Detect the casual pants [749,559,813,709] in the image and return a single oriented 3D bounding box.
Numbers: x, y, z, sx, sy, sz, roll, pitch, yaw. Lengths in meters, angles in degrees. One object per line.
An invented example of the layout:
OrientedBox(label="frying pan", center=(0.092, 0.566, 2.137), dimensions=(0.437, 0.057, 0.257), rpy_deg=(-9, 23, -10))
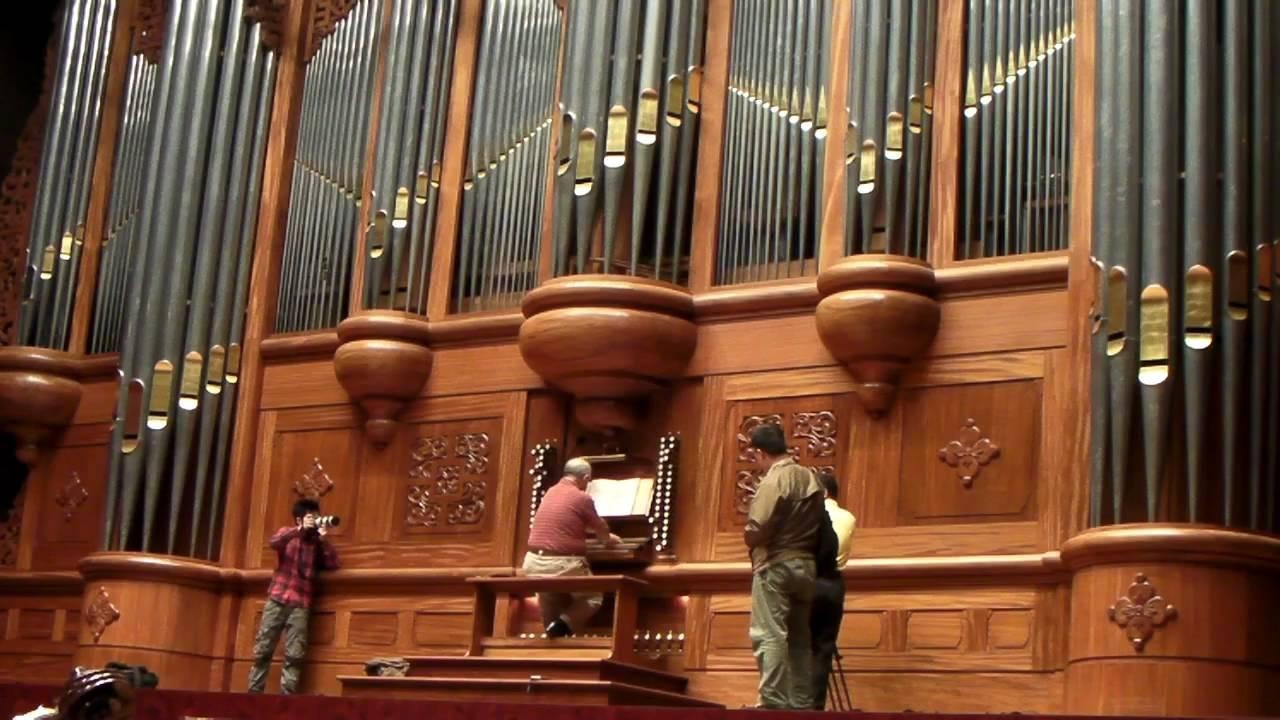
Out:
OrientedBox(label="casual pants", center=(0.999, 1.914, 9.691), dimensions=(0.424, 1.009, 0.543), rpy_deg=(1, -18, 6))

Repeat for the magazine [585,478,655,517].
OrientedBox(label="magazine", center=(-0.142, 1.123, 11.494), dimensions=(0.543, 0.312, 0.118), rpy_deg=(-2, -20, 28))

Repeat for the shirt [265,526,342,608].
OrientedBox(label="shirt", center=(-3.018, 1.797, 12.268), dimensions=(0.651, 0.736, 0.446), rpy_deg=(21, -32, -26))

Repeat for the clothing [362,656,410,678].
OrientedBox(label="clothing", center=(-1.986, 2.403, 10.865), dimensions=(0.374, 0.135, 0.169), rpy_deg=(0, -16, 5))

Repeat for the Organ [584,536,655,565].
OrientedBox(label="Organ", center=(-0.180, 1.560, 11.326), dimensions=(0.483, 0.226, 0.160), rpy_deg=(0, -19, 15))

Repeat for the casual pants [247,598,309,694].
OrientedBox(label="casual pants", center=(-3.159, 2.506, 12.164), dimensions=(0.459, 0.775, 0.316), rpy_deg=(7, -18, -14))

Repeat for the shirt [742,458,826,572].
OrientedBox(label="shirt", center=(1.008, 1.054, 9.640), dimensions=(0.539, 0.774, 0.272), rpy_deg=(1, -18, 6))
